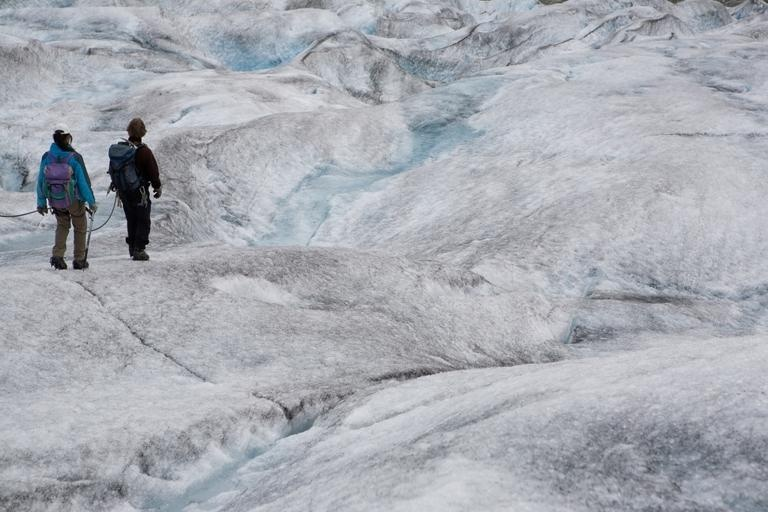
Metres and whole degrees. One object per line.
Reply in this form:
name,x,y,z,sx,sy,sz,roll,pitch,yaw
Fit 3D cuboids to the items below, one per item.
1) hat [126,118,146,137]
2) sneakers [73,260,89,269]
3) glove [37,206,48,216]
hat,-6.336,-3.358,23.142,0.426,0.472,0.619,-5,23,-14
sneakers,-7.499,0.194,22.426,0.288,0.216,0.288,0,-8,-13
glove,-8.550,-1.128,22.638,0.221,0.417,0.181,0,45,-22
